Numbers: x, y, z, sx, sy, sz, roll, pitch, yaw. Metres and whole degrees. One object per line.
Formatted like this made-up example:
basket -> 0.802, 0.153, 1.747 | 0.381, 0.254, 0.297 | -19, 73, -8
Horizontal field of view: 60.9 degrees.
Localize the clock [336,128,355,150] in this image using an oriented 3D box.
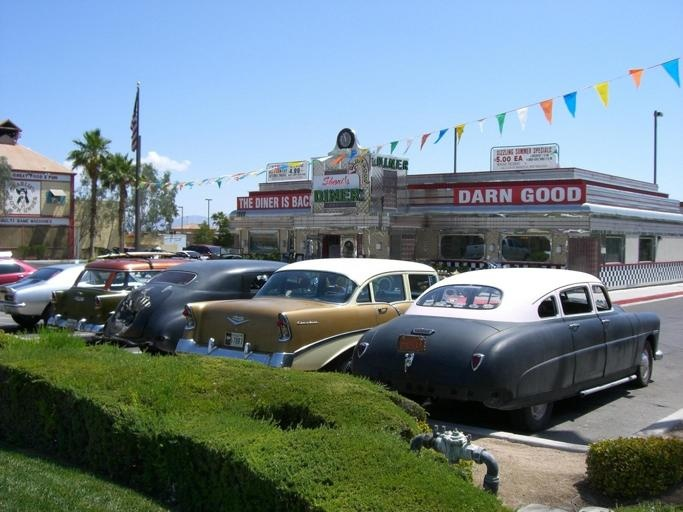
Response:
clock -> 0.235, -5.806, 29.084 | 0.330, 0.996, 1.271 | -9, 11, -38
